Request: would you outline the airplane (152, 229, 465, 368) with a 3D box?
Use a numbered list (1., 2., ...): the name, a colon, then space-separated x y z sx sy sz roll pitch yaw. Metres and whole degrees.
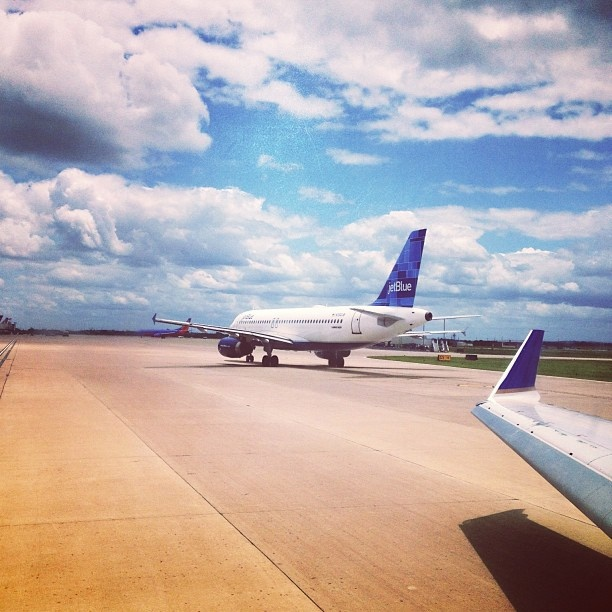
1. airplane: 0.628 0.027 31.928 4.925 7.955 16.033 6 -6 -39
